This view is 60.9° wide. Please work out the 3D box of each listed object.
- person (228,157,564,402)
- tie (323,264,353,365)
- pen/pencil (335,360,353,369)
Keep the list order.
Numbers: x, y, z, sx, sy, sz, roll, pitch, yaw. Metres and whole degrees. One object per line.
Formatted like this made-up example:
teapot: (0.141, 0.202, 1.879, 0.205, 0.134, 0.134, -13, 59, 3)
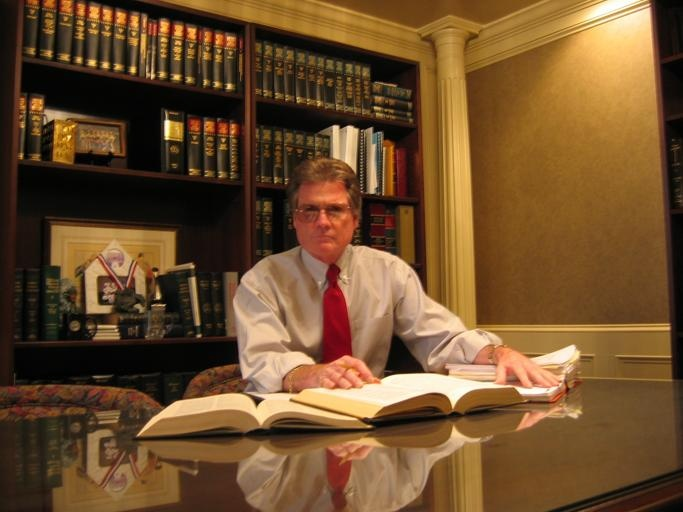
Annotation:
person: (0.041, 0.061, 1.908, 0.771, 0.672, 0.954, -1, -13, -27)
tie: (-0.025, 0.204, 2.092, 0.111, 0.347, 0.168, -3, -2, -1)
pen/pencil: (0.004, 0.267, 1.422, 0.020, 0.006, 0.020, 13, 16, -48)
